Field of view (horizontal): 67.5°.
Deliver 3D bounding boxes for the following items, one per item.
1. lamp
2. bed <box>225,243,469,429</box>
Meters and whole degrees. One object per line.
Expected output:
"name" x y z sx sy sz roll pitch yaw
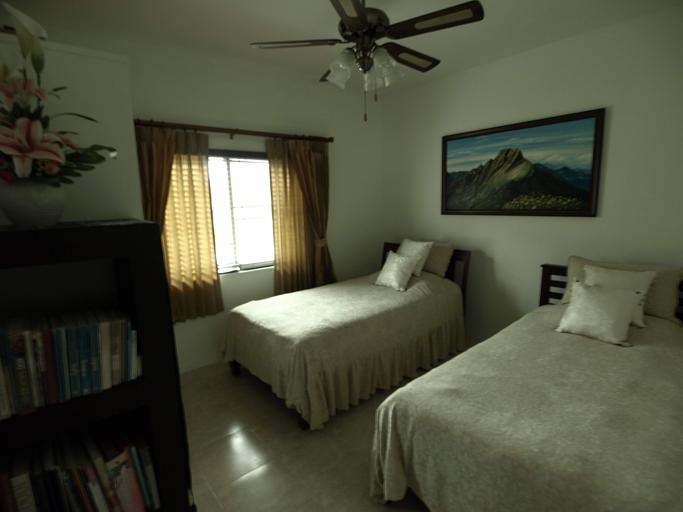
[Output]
"lamp" 0.148 -1.318 3.395 0.524 0.211 0.625 -1 10 14
"bed" 0.101 0.513 4.409 1.700 0.870 1.095 -8 12 -39
